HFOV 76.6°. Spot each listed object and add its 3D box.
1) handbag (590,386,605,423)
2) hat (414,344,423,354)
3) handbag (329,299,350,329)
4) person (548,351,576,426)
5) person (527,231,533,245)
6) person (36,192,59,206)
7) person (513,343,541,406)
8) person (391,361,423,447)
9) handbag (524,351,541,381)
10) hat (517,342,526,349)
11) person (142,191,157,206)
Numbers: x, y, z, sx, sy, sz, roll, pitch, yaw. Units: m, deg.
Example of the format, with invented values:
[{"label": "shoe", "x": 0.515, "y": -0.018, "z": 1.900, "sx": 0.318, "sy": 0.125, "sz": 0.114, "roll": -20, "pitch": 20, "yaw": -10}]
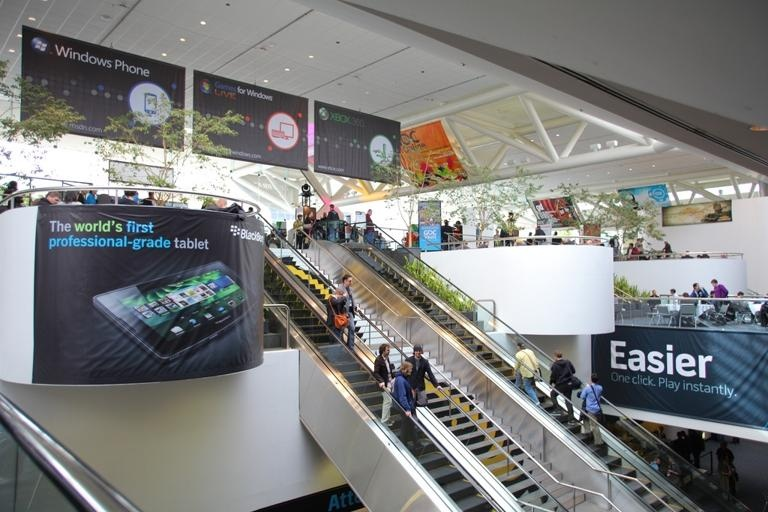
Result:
[{"label": "handbag", "x": 5.335, "y": 3.765, "z": 12.058, "sx": 0.288, "sy": 0.739, "sz": 0.413, "roll": 0, "pitch": 4, "yaw": 12}, {"label": "hat", "x": 0.684, "y": 1.873, "z": 9.769, "sx": 0.182, "sy": 0.232, "sz": 0.240, "roll": -1, "pitch": -2, "yaw": 0}, {"label": "handbag", "x": -1.149, "y": 1.319, "z": 11.306, "sx": 0.354, "sy": 0.666, "sz": 0.526, "roll": -8, "pitch": 3, "yaw": -25}, {"label": "person", "x": 4.485, "y": 3.215, "z": 12.209, "sx": 0.556, "sy": 1.582, "sz": 0.571, "roll": 0, "pitch": 4, "yaw": 19}, {"label": "person", "x": 4.520, "y": -0.496, "z": 15.062, "sx": 0.199, "sy": 0.307, "sz": 0.759, "roll": 0, "pitch": 4, "yaw": 13}, {"label": "person", "x": -6.739, "y": -1.176, "z": 9.758, "sx": 0.316, "sy": 0.248, "sz": 1.022, "roll": -5, "pitch": 6, "yaw": -43}, {"label": "person", "x": 3.628, "y": 3.003, "z": 12.262, "sx": 0.568, "sy": 1.207, "sz": 0.368, "roll": 0, "pitch": 4, "yaw": 17}, {"label": "person", "x": 0.413, "y": 2.876, "z": 9.336, "sx": 0.504, "sy": 1.609, "sz": 0.421, "roll": -1, "pitch": 4, "yaw": 1}, {"label": "handbag", "x": 3.723, "y": 2.785, "z": 12.230, "sx": 0.209, "sy": 0.589, "sz": 0.432, "roll": -21, "pitch": -1, "yaw": 13}, {"label": "hat", "x": 3.515, "y": 2.302, "z": 12.510, "sx": 0.171, "sy": 0.163, "sz": 0.239, "roll": 2, "pitch": 6, "yaw": -12}, {"label": "person", "x": -4.865, "y": -1.194, "z": 10.032, "sx": 0.296, "sy": 0.331, "sz": 1.531, "roll": -3, "pitch": 5, "yaw": -26}]
